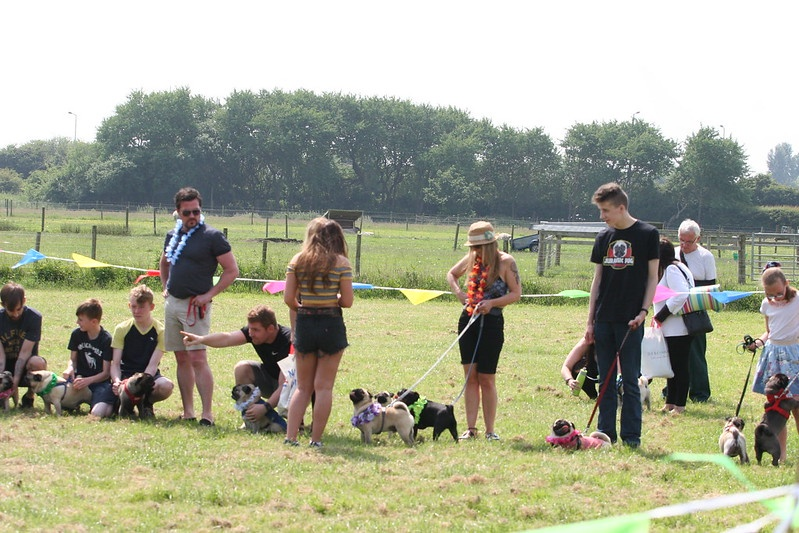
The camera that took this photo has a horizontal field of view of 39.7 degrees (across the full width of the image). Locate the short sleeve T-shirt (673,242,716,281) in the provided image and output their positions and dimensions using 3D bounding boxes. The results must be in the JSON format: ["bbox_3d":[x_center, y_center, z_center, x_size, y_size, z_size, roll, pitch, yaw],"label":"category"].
[{"bbox_3d":[5.008,0.012,18.357,0.426,0.619,0.822,-9,6,-26],"label":"short sleeve T-shirt"}]

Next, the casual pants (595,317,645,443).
[{"bbox_3d":[3.215,1.626,16.212,0.689,2.145,0.512,1,17,17],"label":"casual pants"}]

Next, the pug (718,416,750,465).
[{"bbox_3d":[4.799,2.477,15.803,0.419,0.534,0.603,5,11,16],"label":"pug"}]

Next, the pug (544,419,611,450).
[{"bbox_3d":[2.550,2.458,15.843,0.619,0.246,0.486,7,-4,1],"label":"pug"}]

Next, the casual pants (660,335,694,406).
[{"bbox_3d":[4.473,1.726,17.845,0.609,0.494,1.429,-9,-42,14],"label":"casual pants"}]

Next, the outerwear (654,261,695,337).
[{"bbox_3d":[4.430,0.458,17.963,0.693,1.290,1.182,-2,9,24],"label":"outerwear"}]
